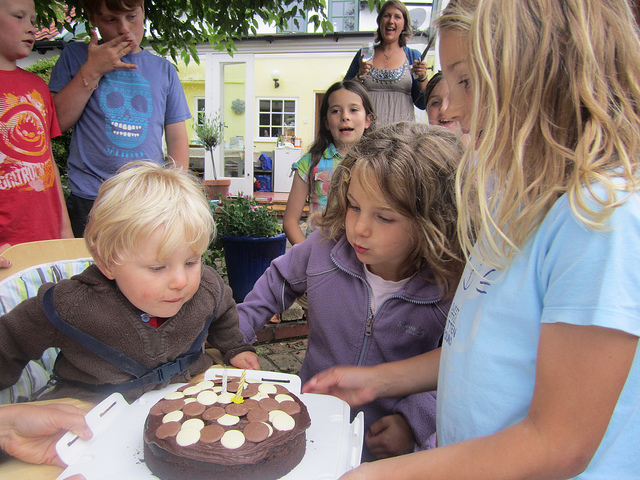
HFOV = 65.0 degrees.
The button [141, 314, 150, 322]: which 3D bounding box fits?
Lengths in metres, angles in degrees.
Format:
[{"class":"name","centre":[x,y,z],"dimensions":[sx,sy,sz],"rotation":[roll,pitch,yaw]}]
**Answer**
[{"class":"button","centre":[-0.574,0.253,1.646],"dimensions":[0.024,0.025,0.009],"rotation":[1,1,-12]}]

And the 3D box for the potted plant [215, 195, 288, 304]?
[{"class":"potted plant","centre":[-0.388,0.119,4.094],"dimensions":[0.530,0.718,0.587],"rotation":[4,-2,-44]}]

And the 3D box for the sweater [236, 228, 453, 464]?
[{"class":"sweater","centre":[0.070,0.291,1.933],"dimensions":[0.538,1.134,0.554],"rotation":[-9,16,-38]}]

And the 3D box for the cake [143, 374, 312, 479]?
[{"class":"cake","centre":[-0.261,0.510,1.455],"dimensions":[0.458,0.163,0.333],"rotation":[-3,15,-2]}]

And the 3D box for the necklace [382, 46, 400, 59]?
[{"class":"necklace","centre":[0.542,-1.437,3.912],"dimensions":[0.116,0.076,0.022],"rotation":[-1,16,4]}]
